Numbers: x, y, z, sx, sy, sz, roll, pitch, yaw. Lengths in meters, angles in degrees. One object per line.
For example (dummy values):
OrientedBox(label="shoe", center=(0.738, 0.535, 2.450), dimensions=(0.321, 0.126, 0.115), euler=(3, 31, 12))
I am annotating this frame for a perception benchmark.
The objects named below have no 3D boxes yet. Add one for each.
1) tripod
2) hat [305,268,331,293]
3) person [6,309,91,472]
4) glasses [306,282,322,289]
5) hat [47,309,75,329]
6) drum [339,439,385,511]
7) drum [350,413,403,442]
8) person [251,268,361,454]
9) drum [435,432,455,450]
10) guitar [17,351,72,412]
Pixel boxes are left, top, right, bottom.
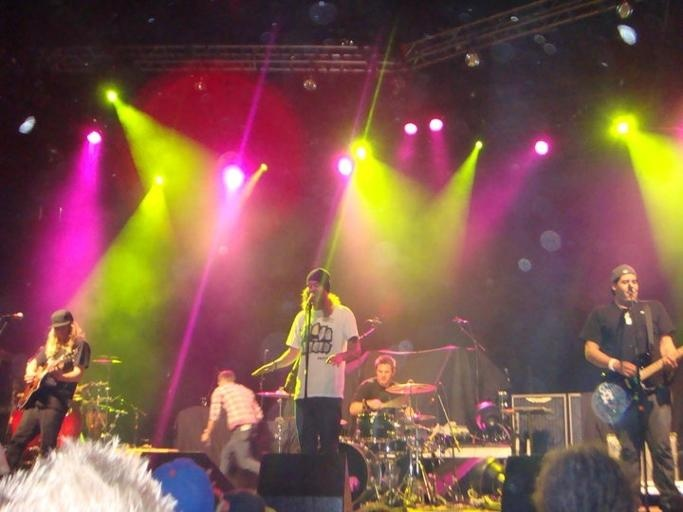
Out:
OrientedBox(label="tripod", center=(1.047, 2.796, 9.499), dimensions=(0.636, 1.511, 0.883), euler=(1, -19, 8))
OrientedBox(label="hat", center=(-0.262, 0.282, 8.023), dimensions=(0.217, 0.234, 0.348), euler=(8, -18, 18))
OrientedBox(label="person", center=(-3.975, 1.777, 8.726), dimensions=(0.378, 2.835, 1.314), euler=(9, -57, -24))
OrientedBox(label="glasses", center=(-0.329, 0.351, 7.879), dimensions=(0.123, 0.073, 0.089), euler=(10, -9, -10))
OrientedBox(label="hat", center=(-3.914, 0.878, 9.226), dimensions=(0.197, 0.170, 0.289), euler=(-2, -3, -1))
OrientedBox(label="drum", center=(0.261, 2.929, 8.684), dimensions=(0.392, 0.807, 0.659), euler=(-6, -22, 26))
OrientedBox(label="drum", center=(0.555, 2.405, 9.251), dimensions=(0.448, 0.312, 0.486), euler=(-1, -11, 0))
OrientedBox(label="person", center=(-0.275, 1.243, 7.786), dimensions=(0.994, 2.188, 0.681), euler=(1, -19, 9))
OrientedBox(label="drum", center=(1.523, 2.694, 9.557), dimensions=(0.276, 0.236, 0.400), euler=(1, -21, 9))
OrientedBox(label="guitar", center=(-4.038, 1.735, 8.926), dimensions=(0.201, 0.492, 1.212), euler=(34, -73, -28))
